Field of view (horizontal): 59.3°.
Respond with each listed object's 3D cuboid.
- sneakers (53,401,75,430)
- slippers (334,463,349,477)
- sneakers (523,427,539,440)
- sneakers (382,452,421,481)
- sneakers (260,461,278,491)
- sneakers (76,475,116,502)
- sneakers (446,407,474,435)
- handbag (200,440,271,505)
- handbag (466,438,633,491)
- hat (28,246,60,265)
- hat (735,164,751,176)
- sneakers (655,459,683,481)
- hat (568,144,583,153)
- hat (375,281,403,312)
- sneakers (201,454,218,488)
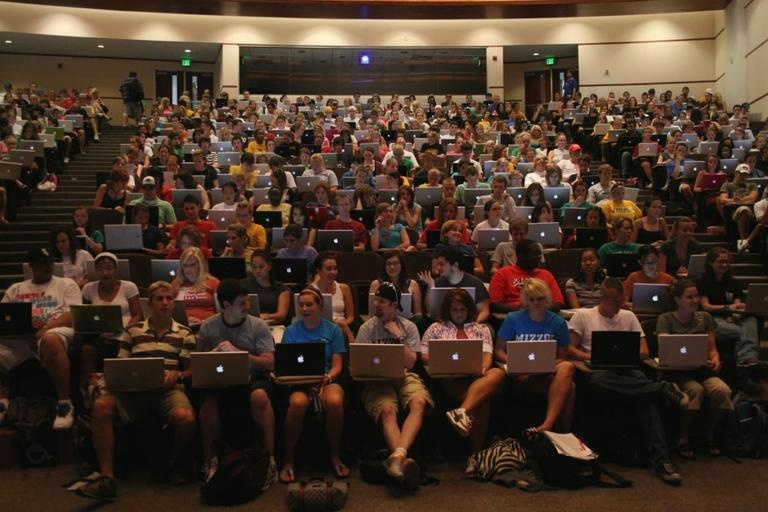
[{"bbox_3d":[-3.209,1.594,6.740,0.126,0.145,0.322,0,3,-9],"label":"sneakers"},{"bbox_3d":[-0.430,2.052,6.513,0.159,0.112,0.164,-1,6,-6],"label":"slippers"},{"bbox_3d":[1.402,1.689,6.452,0.114,0.102,0.129,-3,-32,-38],"label":"sneakers"},{"bbox_3d":[0.141,1.932,6.163,0.315,0.185,0.123,4,12,0],"label":"sneakers"},{"bbox_3d":[-1.078,2.052,6.280,0.091,0.127,0.272,1,3,1],"label":"sneakers"},{"bbox_3d":[-2.572,2.095,6.098,0.372,0.163,0.154,17,-9,-20],"label":"sneakers"},{"bbox_3d":[0.704,1.524,6.343,0.143,0.315,0.153,-36,17,-3],"label":"sneakers"},{"bbox_3d":[-1.354,2.013,6.143,0.366,0.323,0.678,0,21,8],"label":"handbag"},{"bbox_3d":[1.474,1.993,6.357,0.770,0.243,0.763,3,-6,-14],"label":"handbag"},{"bbox_3d":[-3.821,0.012,7.428,0.282,0.134,0.203,-10,-6,42],"label":"hat"},{"bbox_3d":[5.649,-1.384,10.739,0.147,0.109,0.207,8,-1,4],"label":"hat"},{"bbox_3d":[2.669,2.037,6.403,0.115,0.121,0.300,0,-4,-10],"label":"sneakers"},{"bbox_3d":[3.591,-2.047,12.874,0.246,0.161,0.356,-2,9,6],"label":"hat"},{"bbox_3d":[0.050,0.392,6.868,0.308,0.232,0.224,23,-1,-16],"label":"hat"},{"bbox_3d":[-1.642,1.982,6.297,0.124,0.148,0.370,1,-10,-11],"label":"sneakers"}]
